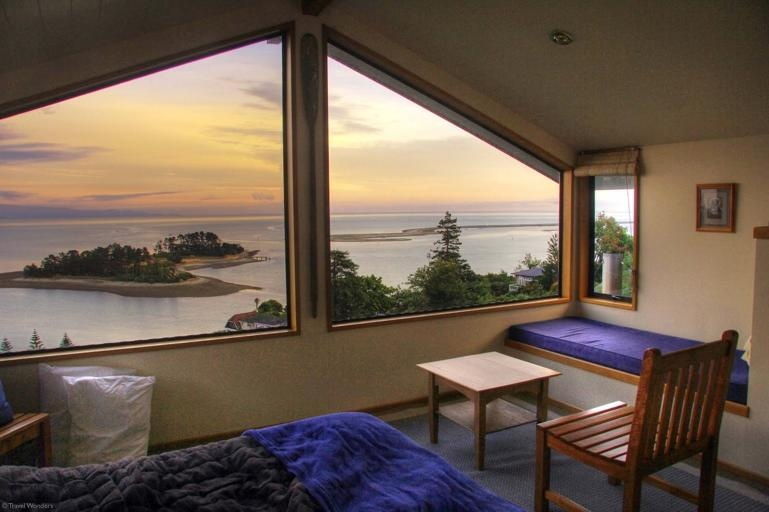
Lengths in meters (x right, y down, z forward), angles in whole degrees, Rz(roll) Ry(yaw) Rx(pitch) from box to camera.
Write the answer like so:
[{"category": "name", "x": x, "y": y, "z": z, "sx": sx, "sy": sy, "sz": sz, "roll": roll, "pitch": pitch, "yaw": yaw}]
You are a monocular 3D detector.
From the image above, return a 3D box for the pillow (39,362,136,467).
[{"category": "pillow", "x": -2.459, "y": 1.188, "z": 4.075, "sx": 0.662, "sy": 0.620, "sz": 0.159, "roll": 1, "pitch": -6, "yaw": -19}]

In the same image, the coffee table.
[{"category": "coffee table", "x": 0.897, "y": 1.316, "z": 4.661, "sx": 1.129, "sy": 0.667, "sz": 1.103, "roll": -1, "pitch": 4, "yaw": -2}]

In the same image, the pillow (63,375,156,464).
[{"category": "pillow", "x": -2.103, "y": 1.232, "z": 4.026, "sx": 0.697, "sy": 0.742, "sz": 0.112, "roll": 0, "pitch": -4, "yaw": -23}]
